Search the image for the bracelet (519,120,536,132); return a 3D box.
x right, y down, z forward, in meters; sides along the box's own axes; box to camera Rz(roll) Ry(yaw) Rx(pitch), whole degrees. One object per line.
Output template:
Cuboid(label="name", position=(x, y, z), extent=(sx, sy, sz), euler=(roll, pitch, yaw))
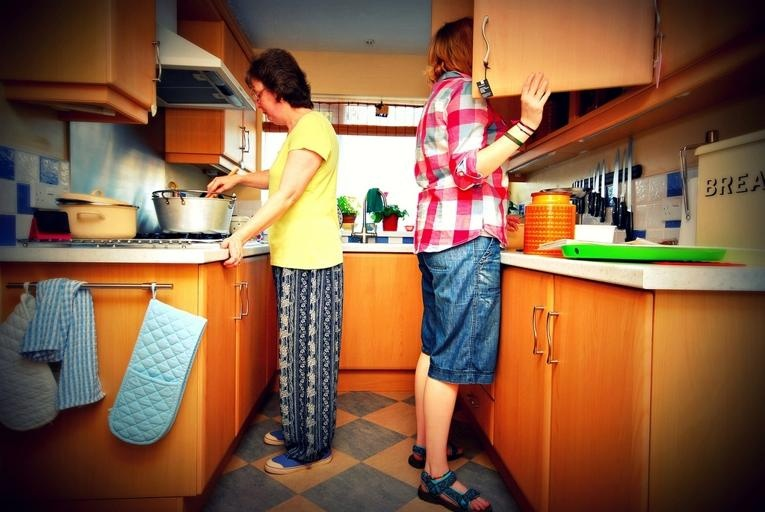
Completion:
Cuboid(label="bracelet", position=(0.526, -0.466, 1.999), extent=(0.040, 0.015, 0.039), euler=(26, -1, -1))

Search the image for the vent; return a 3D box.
Cuboid(label="vent", position=(-0.956, -0.969, 3.016), extent=(0.376, 0.144, 0.683), euler=(2, -4, 2))

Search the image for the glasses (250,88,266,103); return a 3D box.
Cuboid(label="glasses", position=(-0.548, -0.701, 2.407), extent=(0.044, 0.069, 0.148), euler=(1, 2, -25))

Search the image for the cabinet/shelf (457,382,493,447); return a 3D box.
Cuboid(label="cabinet/shelf", position=(0.440, 0.745, 2.597), extent=(0.144, 0.148, 0.427), euler=(0, 1, 2))

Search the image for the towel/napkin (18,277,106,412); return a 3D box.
Cuboid(label="towel/napkin", position=(-1.141, 0.308, 1.967), extent=(0.256, 0.452, 0.088), euler=(1, 2, -28))

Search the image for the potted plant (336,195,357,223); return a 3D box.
Cuboid(label="potted plant", position=(-0.259, -0.353, 3.946), extent=(0.212, 0.198, 0.196), euler=(-4, -1, 1))

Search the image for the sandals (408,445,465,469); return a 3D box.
Cuboid(label="sandals", position=(0.238, 0.886, 2.503), extent=(0.101, 0.096, 0.257), euler=(1, 4, 42))

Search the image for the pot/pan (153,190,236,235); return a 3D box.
Cuboid(label="pot/pan", position=(-0.850, -0.195, 2.439), extent=(0.260, 0.114, 0.254), euler=(0, 1, 3))

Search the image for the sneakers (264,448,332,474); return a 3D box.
Cuboid(label="sneakers", position=(-0.393, 0.905, 2.490), extent=(0.271, 0.092, 0.098), euler=(2, -4, -16))

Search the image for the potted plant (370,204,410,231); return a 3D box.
Cuboid(label="potted plant", position=(0.057, -0.283, 4.002), extent=(0.210, 0.136, 0.204), euler=(-1, 1, -2))

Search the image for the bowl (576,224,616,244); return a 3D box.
Cuboid(label="bowl", position=(0.814, -0.106, 2.081), extent=(0.086, 0.054, 0.117), euler=(-3, 5, -44))

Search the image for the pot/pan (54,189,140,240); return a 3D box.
Cuboid(label="pot/pan", position=(-1.131, -0.151, 2.191), extent=(0.199, 0.135, 0.267), euler=(0, 0, -4))
